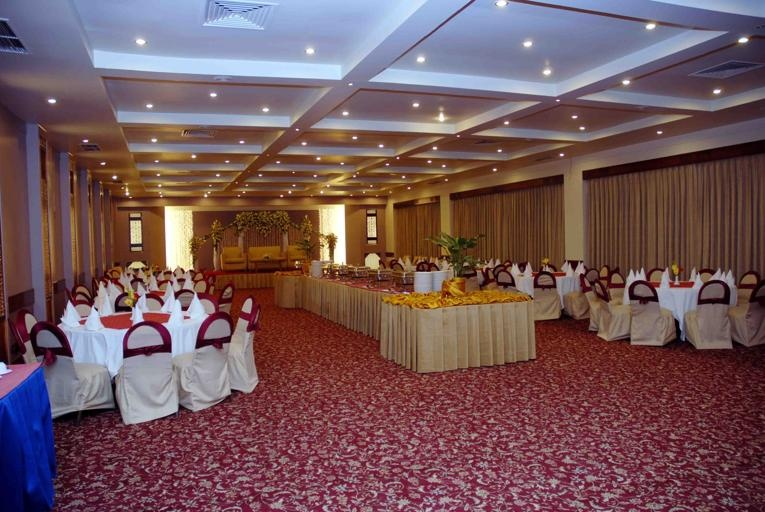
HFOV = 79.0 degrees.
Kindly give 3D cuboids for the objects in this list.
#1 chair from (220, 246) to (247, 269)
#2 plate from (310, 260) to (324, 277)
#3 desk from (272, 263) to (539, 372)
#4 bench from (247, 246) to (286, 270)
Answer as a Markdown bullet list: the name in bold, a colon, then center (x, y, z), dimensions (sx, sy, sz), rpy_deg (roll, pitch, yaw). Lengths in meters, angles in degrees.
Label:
- **chair**: center (-6.023, 0.060, 18.956), dimensions (1.006, 1.009, 1.035), rpy_deg (0, -4, -24)
- **plate**: center (-1.646, 0.305, 11.383), dimensions (0.401, 0.374, 0.312), rpy_deg (-1, 6, -19)
- **desk**: center (-0.468, 0.907, 9.594), dimensions (1.837, 1.504, 7.385), rpy_deg (-7, 11, -32)
- **bench**: center (-4.868, 0.057, 19.116), dimensions (1.524, 0.977, 1.018), rpy_deg (1, -4, -21)
